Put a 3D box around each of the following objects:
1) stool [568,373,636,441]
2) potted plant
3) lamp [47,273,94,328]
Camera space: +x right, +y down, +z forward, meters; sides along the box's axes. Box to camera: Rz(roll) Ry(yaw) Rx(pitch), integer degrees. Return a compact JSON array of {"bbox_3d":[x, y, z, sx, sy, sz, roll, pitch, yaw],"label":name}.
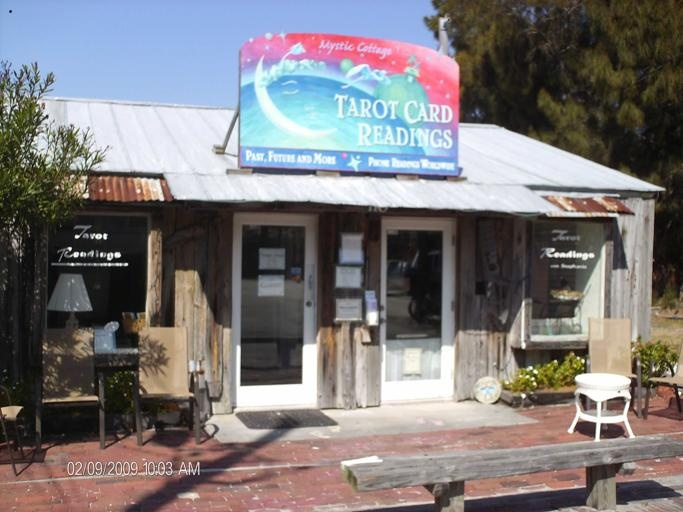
[{"bbox_3d":[3.797,2.078,12.194,0.872,1.040,0.970,2,-4,-12],"label":"stool"},{"bbox_3d":[4.035,1.974,14.004,2.269,0.714,1.330,-1,1,-18],"label":"potted plant"},{"bbox_3d":[-3.883,0.577,12.193,0.610,1.004,0.653,-4,6,-38],"label":"lamp"}]
